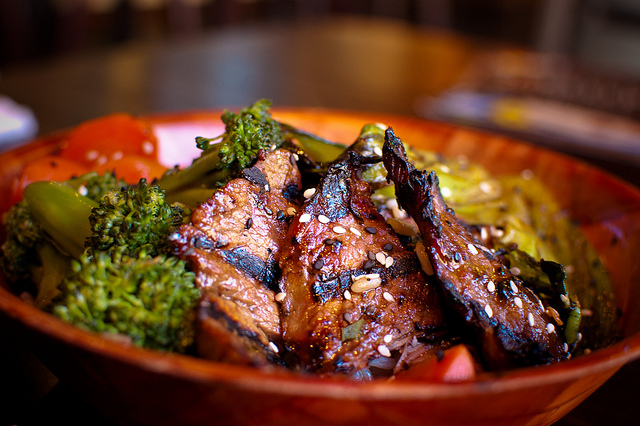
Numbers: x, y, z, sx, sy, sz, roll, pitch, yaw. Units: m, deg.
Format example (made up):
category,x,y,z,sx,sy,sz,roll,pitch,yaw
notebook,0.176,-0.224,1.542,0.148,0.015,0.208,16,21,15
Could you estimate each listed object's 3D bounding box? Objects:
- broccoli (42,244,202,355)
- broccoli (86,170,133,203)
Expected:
category,x,y,z,sx,sy,sz,roll,pitch,yaw
broccoli,-0.680,0.307,2.087,0.388,0.259,0.422,30,13,29
broccoli,-1.039,-0.131,2.880,0.197,0.126,0.201,12,29,-8
